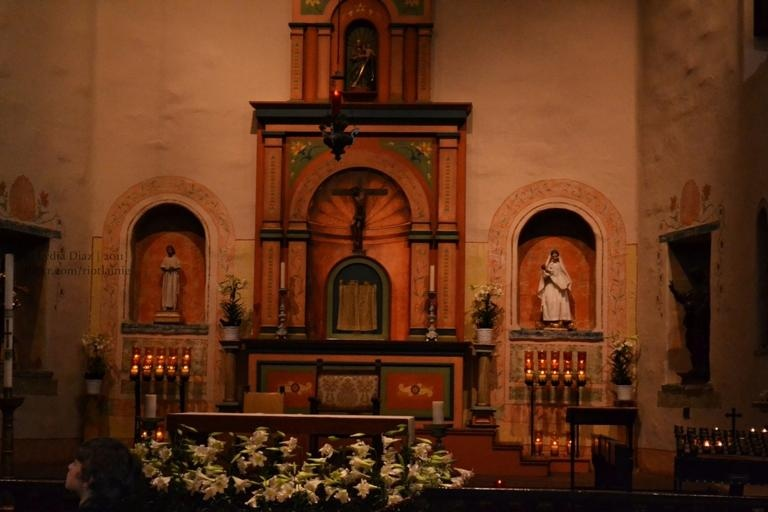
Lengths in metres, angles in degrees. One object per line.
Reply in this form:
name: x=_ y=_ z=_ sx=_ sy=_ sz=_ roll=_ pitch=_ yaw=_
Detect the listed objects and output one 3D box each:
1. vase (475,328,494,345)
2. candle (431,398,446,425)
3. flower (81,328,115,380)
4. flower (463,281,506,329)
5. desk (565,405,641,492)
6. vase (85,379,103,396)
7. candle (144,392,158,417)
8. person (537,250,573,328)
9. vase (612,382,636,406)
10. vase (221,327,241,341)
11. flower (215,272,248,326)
vase: x=1.568 y=1.239 z=18.426 sx=0.235 sy=0.187 sz=0.239 roll=2 pitch=-4 yaw=5
candle: x=0.655 y=1.906 z=14.377 sx=0.122 sy=0.282 sz=0.210 roll=1 pitch=-12 yaw=-2
flower: x=-4.499 y=1.547 z=18.490 sx=0.438 sy=0.766 sz=0.310 roll=4 pitch=-13 yaw=-15
flower: x=1.563 y=0.772 z=18.592 sx=0.492 sy=0.681 sz=0.412 roll=-1 pitch=0 yaw=19
desk: x=2.990 y=2.545 z=16.366 sx=1.027 sy=1.038 sz=1.173 roll=0 pitch=0 yaw=3
vase: x=-4.470 y=2.031 z=18.329 sx=0.240 sy=0.182 sz=0.230 roll=0 pitch=-2 yaw=5
candle: x=-2.815 y=1.813 z=14.365 sx=0.128 sy=0.275 sz=0.153 roll=6 pitch=-13 yaw=-24
person: x=2.699 y=0.503 z=18.768 sx=0.508 sy=1.177 sz=0.343 roll=-1 pitch=-12 yaw=8
vase: x=3.681 y=2.114 z=18.225 sx=0.315 sy=0.273 sz=0.319 roll=-2 pitch=-2 yaw=12
vase: x=-2.378 y=1.203 z=18.546 sx=0.220 sy=0.165 sz=0.221 roll=3 pitch=-10 yaw=-18
flower: x=-2.397 y=0.682 z=18.744 sx=0.425 sy=0.885 sz=0.370 roll=2 pitch=-12 yaw=-7
